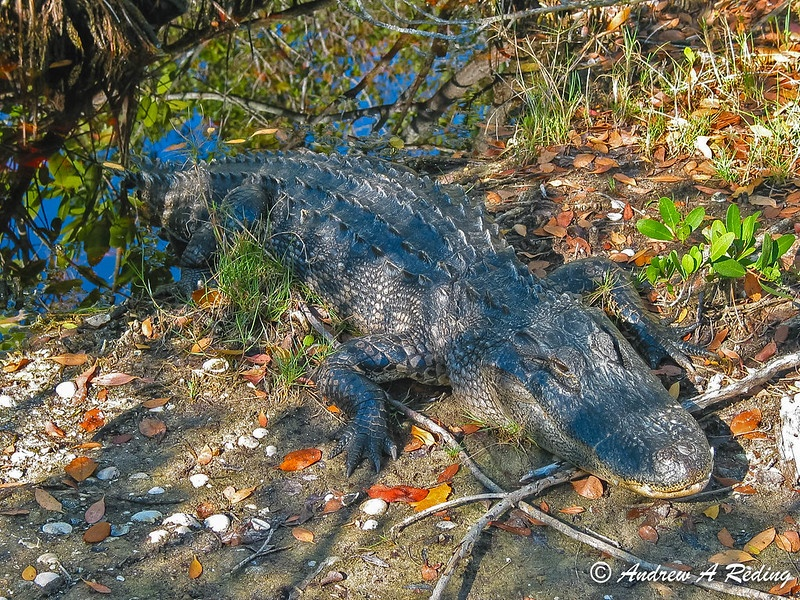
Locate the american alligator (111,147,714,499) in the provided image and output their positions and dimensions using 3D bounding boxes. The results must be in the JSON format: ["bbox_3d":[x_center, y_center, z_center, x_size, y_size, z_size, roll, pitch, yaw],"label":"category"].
[{"bbox_3d":[0.120,0.013,6.767,1.531,1.106,4.403,-37,42,-15],"label":"american alligator"}]
